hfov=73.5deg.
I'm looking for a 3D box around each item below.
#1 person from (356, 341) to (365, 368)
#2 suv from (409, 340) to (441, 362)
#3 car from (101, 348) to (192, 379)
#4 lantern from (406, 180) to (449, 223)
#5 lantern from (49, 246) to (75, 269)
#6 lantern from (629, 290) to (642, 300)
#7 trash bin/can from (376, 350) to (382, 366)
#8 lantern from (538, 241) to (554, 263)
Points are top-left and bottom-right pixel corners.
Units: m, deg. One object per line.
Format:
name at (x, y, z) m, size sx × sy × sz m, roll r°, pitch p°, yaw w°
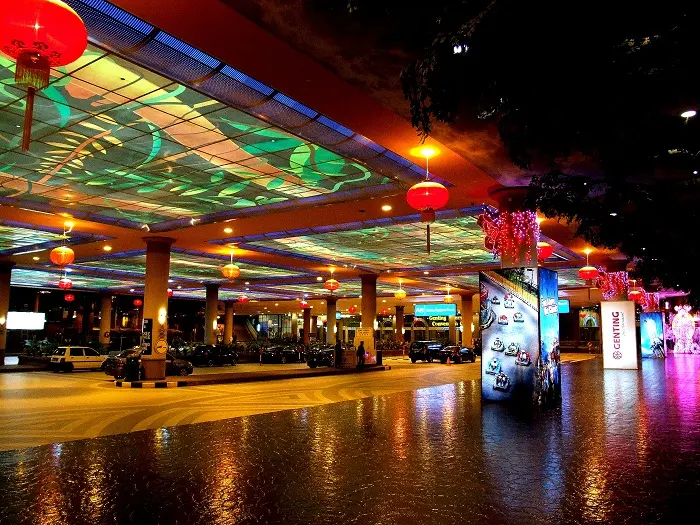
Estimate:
person at (0.767, 6.121, 31.573) m, size 0.525 × 1.734 × 1.022 m, roll 1°, pitch -8°, yaw 0°
suv at (6.914, 7.772, 41.251) m, size 1.481 × 1.020 × 2.963 m, roll -2°, pitch -3°, yaw 37°
car at (-11.487, 5.443, 25.185) m, size 5.334 × 1.607 × 2.161 m, roll 2°, pitch -4°, yaw -40°
lantern at (1.821, -1.487, 10.807) m, size 1.260 × 0.958 × 1.113 m, roll -3°, pitch -1°, yaw 10°
lantern at (-13.463, -0.328, 21.922) m, size 1.182 × 0.900 × 1.058 m, roll 7°, pitch 16°, yaw 18°
lantern at (17.727, 1.925, 29.132) m, size 0.839 × 0.632 × 0.761 m, roll 3°, pitch -3°, yaw -25°
trash bin/can at (2.082, 6.641, 32.956) m, size 0.357 × 0.980 × 0.686 m, roll 2°, pitch -8°, yaw -7°
lantern at (7.204, -0.547, 17.287) m, size 0.414 × 0.674 × 1.325 m, roll -3°, pitch -8°, yaw 26°
